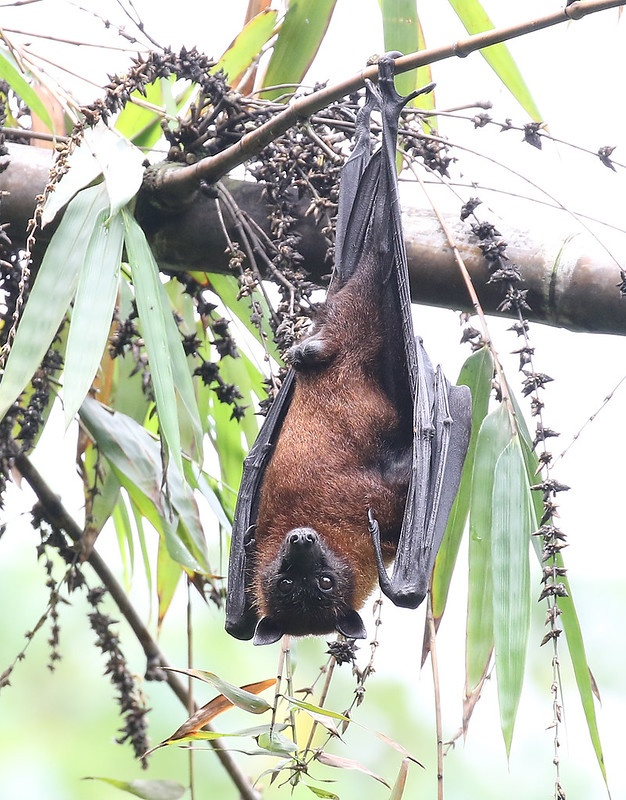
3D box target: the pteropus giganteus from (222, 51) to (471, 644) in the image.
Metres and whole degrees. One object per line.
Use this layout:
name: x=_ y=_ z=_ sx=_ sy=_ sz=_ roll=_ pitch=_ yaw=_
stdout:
pteropus giganteus: x=0.102 y=-0.055 z=3.495 sx=0.604 sy=0.567 sz=1.649 roll=5 pitch=-73 yaw=5
